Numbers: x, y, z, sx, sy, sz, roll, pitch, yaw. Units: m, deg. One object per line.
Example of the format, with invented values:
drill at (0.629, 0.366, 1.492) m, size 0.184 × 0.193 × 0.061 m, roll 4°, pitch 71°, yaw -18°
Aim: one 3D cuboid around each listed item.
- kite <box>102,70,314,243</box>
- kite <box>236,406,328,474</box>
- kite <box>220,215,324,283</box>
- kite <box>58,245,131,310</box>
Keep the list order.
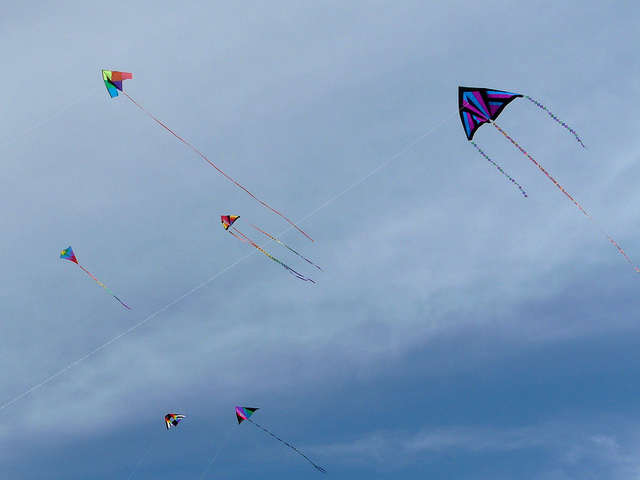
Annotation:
kite at (-1.498, -1.151, 8.706) m, size 0.563 × 0.107 × 2.513 m, roll -38°, pitch -80°, yaw 4°
kite at (-0.546, 2.612, 9.009) m, size 0.510 × 0.996 × 0.065 m, roll -50°, pitch 5°, yaw -23°
kite at (-0.657, 0.205, 8.959) m, size 1.539 × 0.051 × 0.493 m, roll 41°, pitch -83°, yaw -8°
kite at (-2.920, 0.498, 8.819) m, size 0.282 × 0.937 × 0.159 m, roll -41°, pitch 7°, yaw -15°
